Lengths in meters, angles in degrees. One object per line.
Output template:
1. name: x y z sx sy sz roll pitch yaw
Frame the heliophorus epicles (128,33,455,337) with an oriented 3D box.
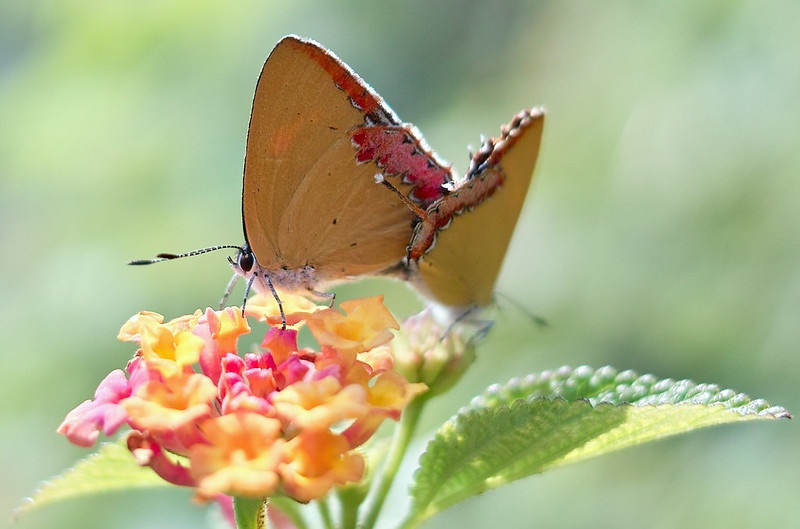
1. heliophorus epicles: -0.406 -0.230 2.957 1.132 0.835 1.126 1 -16 -33

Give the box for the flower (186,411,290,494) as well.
1. flower: -0.414 0.493 2.067 0.242 0.227 0.093 -16 -9 -18

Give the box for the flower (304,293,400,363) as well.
1. flower: -0.131 0.176 2.339 0.262 0.124 0.188 -17 -10 -14

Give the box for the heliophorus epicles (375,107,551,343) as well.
1. heliophorus epicles: 0.275 -0.262 3.008 0.710 0.912 0.481 0 14 6
